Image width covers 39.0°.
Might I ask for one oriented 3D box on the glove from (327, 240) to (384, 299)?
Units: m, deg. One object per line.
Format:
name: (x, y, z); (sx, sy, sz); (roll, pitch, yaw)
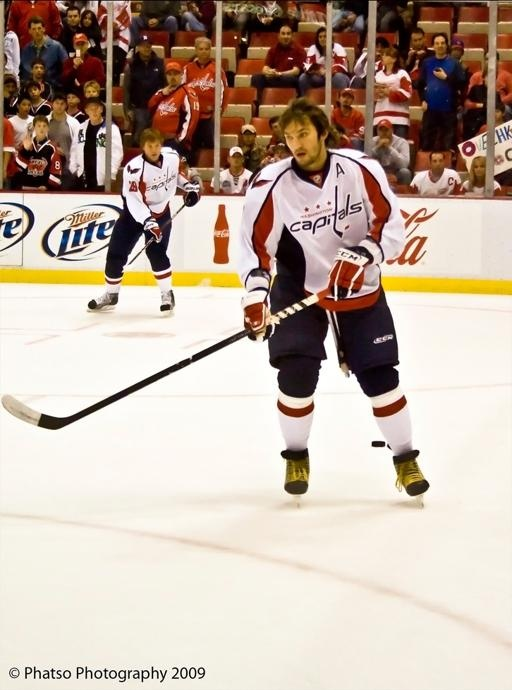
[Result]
glove: (0.287, -0.206, 2.040); (0.132, 0.159, 0.065); (5, -30, 41)

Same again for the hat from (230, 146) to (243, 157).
hat: (-0.228, -2.172, 8.020); (0.111, 0.133, 0.144); (0, -4, -3)

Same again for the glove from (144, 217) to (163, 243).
glove: (-0.822, -0.941, 5.925); (0.104, 0.194, 0.154); (-32, 22, -19)

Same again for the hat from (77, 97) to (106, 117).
hat: (-1.881, -2.690, 8.167); (0.210, 0.206, 0.238); (-2, 2, -7)

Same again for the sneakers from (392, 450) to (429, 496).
sneakers: (0.439, 0.375, 2.150); (0.075, 0.072, 0.177); (-26, 8, 1)

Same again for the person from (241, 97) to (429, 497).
person: (0.233, -0.110, 2.124); (0.572, 1.148, 0.308); (1, 8, -2)

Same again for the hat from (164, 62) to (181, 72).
hat: (-0.942, -3.082, 8.067); (0.202, 0.120, 0.261); (-1, 18, 1)

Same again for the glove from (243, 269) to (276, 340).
glove: (0.007, -0.114, 2.080); (0.101, 0.208, 0.103); (0, 8, -4)

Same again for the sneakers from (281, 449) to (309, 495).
sneakers: (0.149, 0.376, 2.183); (0.076, 0.115, 0.126); (0, -30, 30)

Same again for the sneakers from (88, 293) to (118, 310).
sneakers: (-1.341, -0.391, 6.435); (0.310, 0.132, 0.123); (-7, 30, -45)

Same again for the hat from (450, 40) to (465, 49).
hat: (2.260, -3.351, 8.129); (0.127, 0.104, 0.177); (7, 44, 0)

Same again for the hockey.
hockey: (-0.526, 0.084, 3.754); (1.700, 0.364, 0.166); (-25, 1, 14)

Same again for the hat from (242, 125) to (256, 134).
hat: (-0.095, -2.406, 8.021); (0.141, 0.092, 0.177); (1, 10, 2)
